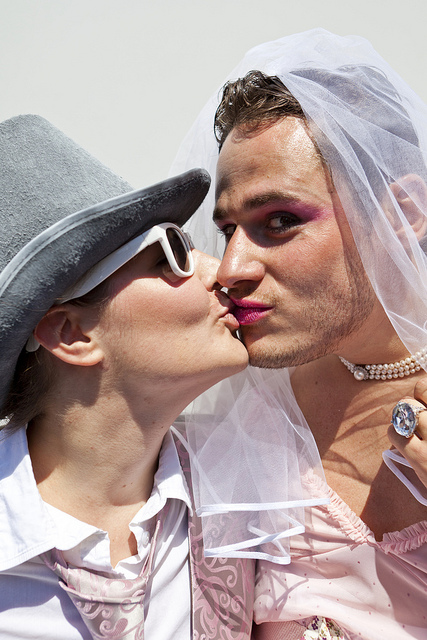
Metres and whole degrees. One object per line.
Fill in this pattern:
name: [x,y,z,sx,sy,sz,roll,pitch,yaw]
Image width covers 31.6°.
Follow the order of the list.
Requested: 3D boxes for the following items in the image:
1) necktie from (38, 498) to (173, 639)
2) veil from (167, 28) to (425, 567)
necktie: [-0.303,0.711,2.146,0.301,0.289,0.265,-11,-37,-17]
veil: [0.291,-0.102,2.568,0.921,1.799,0.862,-8,7,-1]
